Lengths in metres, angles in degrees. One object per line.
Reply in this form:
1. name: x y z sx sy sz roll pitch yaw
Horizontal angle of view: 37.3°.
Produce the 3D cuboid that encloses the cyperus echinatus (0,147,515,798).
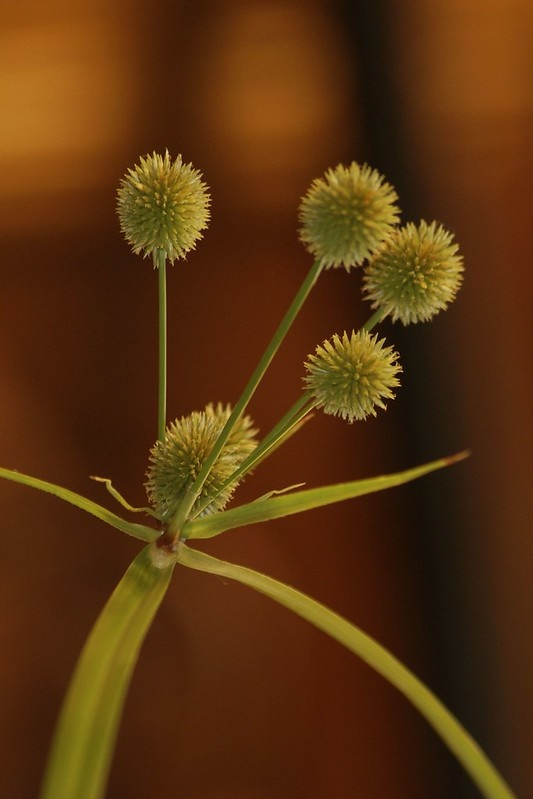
1. cyperus echinatus: -0.049 0.068 0.925 0.498 0.500 0.706 3 -84 -43
